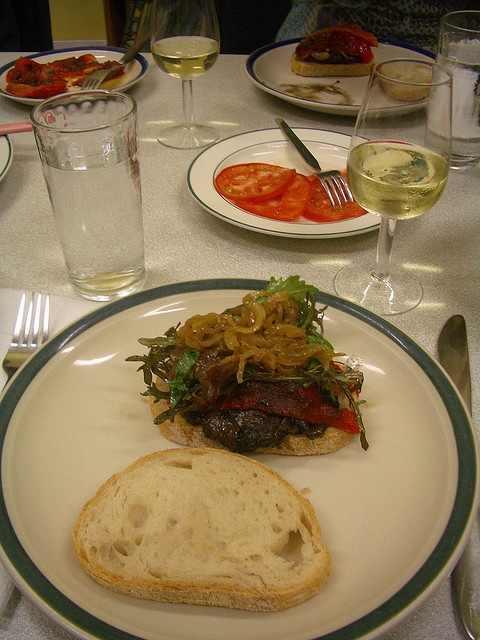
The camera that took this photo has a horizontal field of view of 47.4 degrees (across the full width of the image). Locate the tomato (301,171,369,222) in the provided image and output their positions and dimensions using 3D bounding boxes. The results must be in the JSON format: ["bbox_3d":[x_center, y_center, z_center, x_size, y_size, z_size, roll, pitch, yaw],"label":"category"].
[{"bbox_3d":[0.250,-0.355,1.569,0.068,0.054,0.467,-6,33,-9],"label":"tomato"}]

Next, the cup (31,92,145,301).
[{"bbox_3d":[-0.327,-0.298,1.285,0.214,0.431,0.365,-8,38,-9],"label":"cup"}]

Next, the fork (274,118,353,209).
[{"bbox_3d":[0.221,-0.526,1.744,0.095,0.059,0.515,-29,41,9],"label":"fork"}]

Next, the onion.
[{"bbox_3d":[0.030,0.030,0.950,0.215,0.063,0.160,-22,55,-12],"label":"onion"}]

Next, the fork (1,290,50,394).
[{"bbox_3d":[-0.424,0.032,1.138,0.094,0.081,0.164,0,51,-6],"label":"fork"}]
